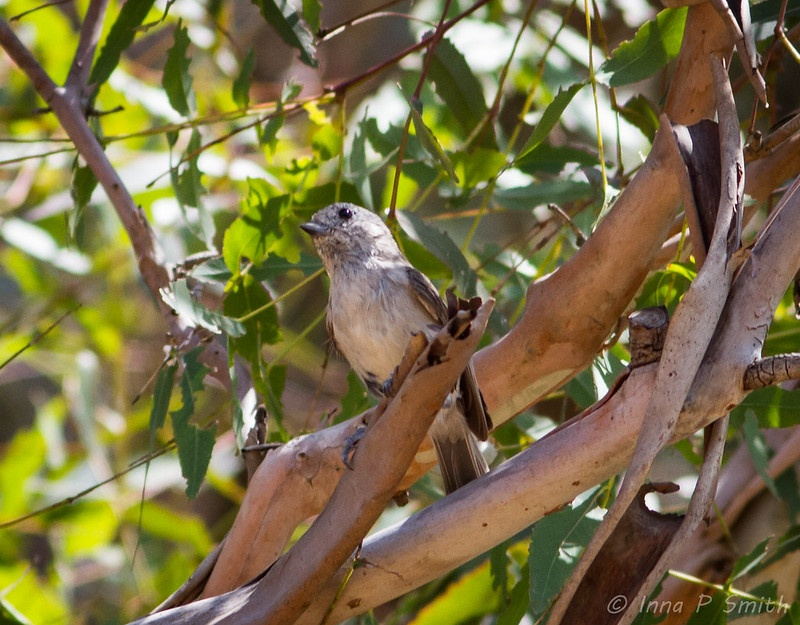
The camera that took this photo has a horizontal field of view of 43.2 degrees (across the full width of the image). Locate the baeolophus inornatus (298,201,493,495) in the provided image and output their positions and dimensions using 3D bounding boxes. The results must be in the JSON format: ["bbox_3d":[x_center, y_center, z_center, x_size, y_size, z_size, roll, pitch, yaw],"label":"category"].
[{"bbox_3d":[0.039,0.123,4.321,0.944,1.250,0.627,-4,-14,34],"label":"baeolophus inornatus"}]
